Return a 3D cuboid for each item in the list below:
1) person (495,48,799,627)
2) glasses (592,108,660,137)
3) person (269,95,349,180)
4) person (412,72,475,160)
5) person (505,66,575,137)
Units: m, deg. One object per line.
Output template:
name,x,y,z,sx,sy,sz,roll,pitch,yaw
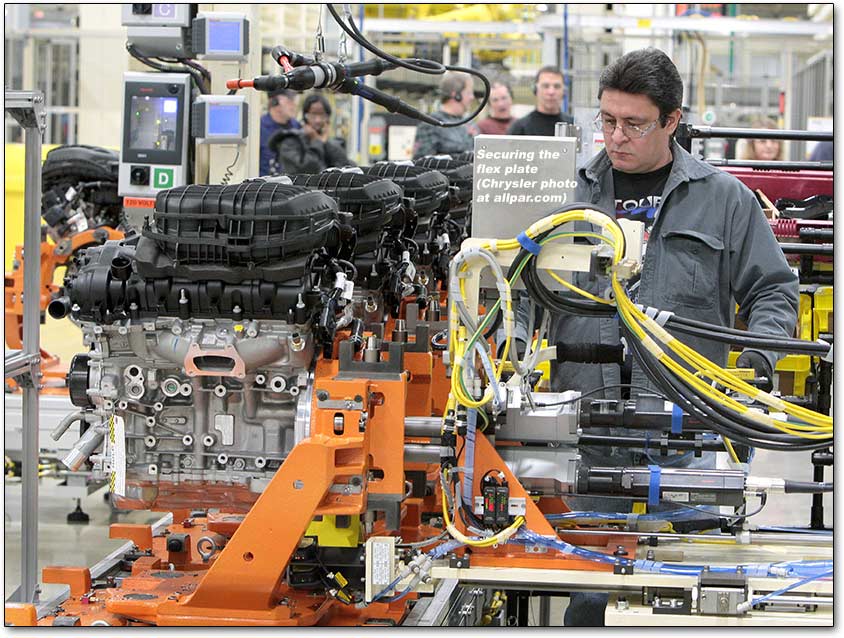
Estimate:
person,1.358,0.108,9.763,1.331,3.139,0.704,1,0,3
glasses,1.121,-1.064,9.774,0.347,0.153,0.140,1,0,16
person,-1.044,-1.716,16.491,0.615,0.757,0.937,1,0,14
person,0.211,-1.905,16.693,0.518,0.804,1.372,1,0,1
person,1.108,-1.830,15.666,0.770,0.696,0.358,-1,1,-7
